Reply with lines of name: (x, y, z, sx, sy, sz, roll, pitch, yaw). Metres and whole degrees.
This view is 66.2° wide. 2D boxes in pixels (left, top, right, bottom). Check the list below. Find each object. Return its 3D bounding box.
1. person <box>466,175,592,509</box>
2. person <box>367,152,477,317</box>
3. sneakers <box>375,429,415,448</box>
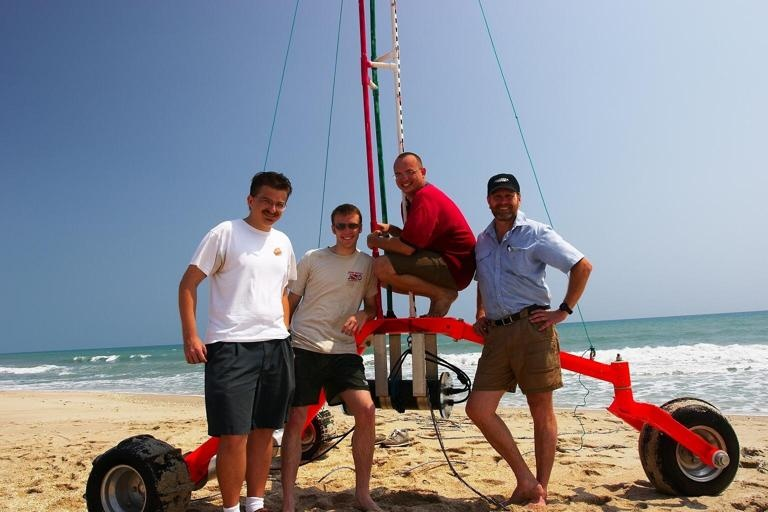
person: (1.477, 0.867, 6.305, 1.187, 3.481, 0.556, -3, -5, 19)
person: (0.438, -0.220, 7.008, 1.227, 1.876, 1.184, 1, -1, -13)
sneakers: (0.176, 2.644, 8.537, 0.463, 0.193, 0.199, 5, -12, -21)
